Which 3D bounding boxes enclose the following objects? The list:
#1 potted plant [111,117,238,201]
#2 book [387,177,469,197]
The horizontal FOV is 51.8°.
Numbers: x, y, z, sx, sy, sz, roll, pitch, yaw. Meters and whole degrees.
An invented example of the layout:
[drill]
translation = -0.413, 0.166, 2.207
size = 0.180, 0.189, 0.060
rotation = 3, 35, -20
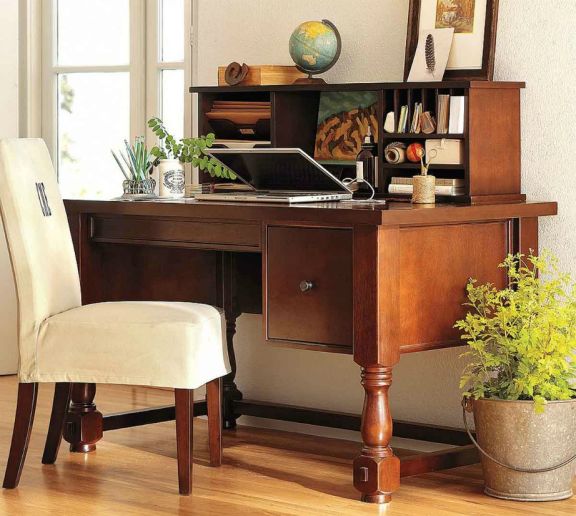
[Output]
[potted plant]
translation = -0.392, -0.358, 2.279
size = 0.457, 0.386, 0.384
rotation = 10, 13, 39
[book]
translation = 0.455, -0.241, 1.974
size = 0.079, 0.091, 0.285
rotation = 2, -1, -43
